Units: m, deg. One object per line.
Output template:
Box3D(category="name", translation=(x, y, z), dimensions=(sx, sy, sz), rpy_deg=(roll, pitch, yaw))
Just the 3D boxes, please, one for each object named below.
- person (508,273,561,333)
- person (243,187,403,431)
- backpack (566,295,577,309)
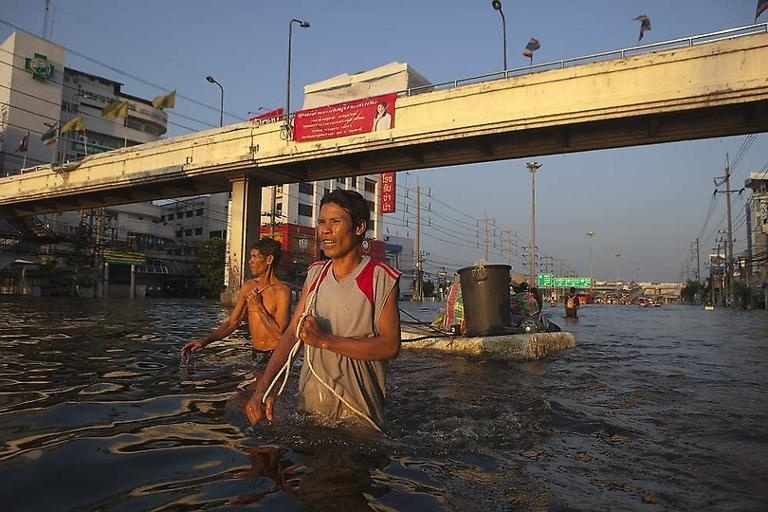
Box3D(category="person", translation=(3.551, 1.212, 14.342), dimensions=(1.546, 0.989, 0.959), rpy_deg=(6, -9, -12))
Box3D(category="person", translation=(-0.594, 0.647, 7.562), dimensions=(1.542, 2.809, 0.650), rpy_deg=(2, 6, -4))
Box3D(category="backpack", translation=(7.426, 1.904, 25.581), dimensions=(0.532, 0.549, 0.300), rpy_deg=(-5, -18, 36))
